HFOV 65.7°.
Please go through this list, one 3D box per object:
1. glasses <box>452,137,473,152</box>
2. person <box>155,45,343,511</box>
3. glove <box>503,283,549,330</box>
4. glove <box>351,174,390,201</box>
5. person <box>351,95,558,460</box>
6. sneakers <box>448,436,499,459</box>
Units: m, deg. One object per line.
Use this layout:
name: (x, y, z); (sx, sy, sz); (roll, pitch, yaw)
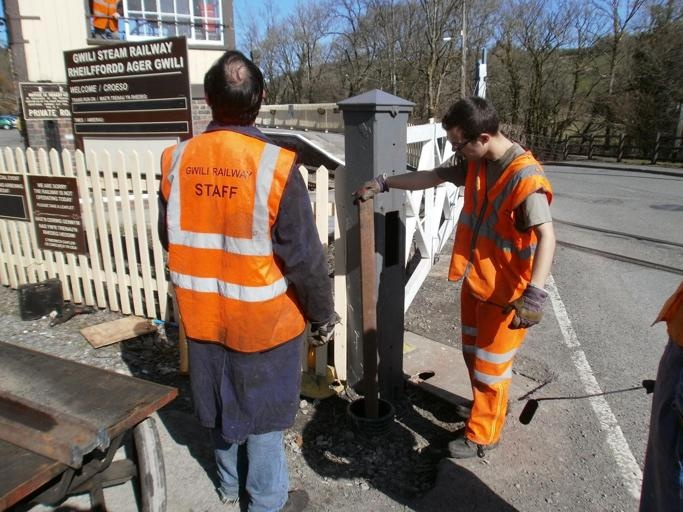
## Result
glasses: (0.802, -0.754, 3.576); (0.092, 0.085, 0.237); (0, 17, -2)
person: (-0.582, 0.262, 3.132); (0.991, 2.793, 0.602); (8, 19, 23)
glove: (1.178, 0.329, 3.348); (0.210, 0.282, 0.102); (40, 25, 11)
glove: (0.210, -0.479, 3.765); (0.249, 0.121, 0.160); (-26, 63, -15)
person: (0.947, 0.179, 3.670); (0.610, 2.455, 1.075); (-14, 22, -38)
sneakers: (0.894, 1.365, 3.749); (0.233, 0.093, 0.182); (11, 25, 30)
